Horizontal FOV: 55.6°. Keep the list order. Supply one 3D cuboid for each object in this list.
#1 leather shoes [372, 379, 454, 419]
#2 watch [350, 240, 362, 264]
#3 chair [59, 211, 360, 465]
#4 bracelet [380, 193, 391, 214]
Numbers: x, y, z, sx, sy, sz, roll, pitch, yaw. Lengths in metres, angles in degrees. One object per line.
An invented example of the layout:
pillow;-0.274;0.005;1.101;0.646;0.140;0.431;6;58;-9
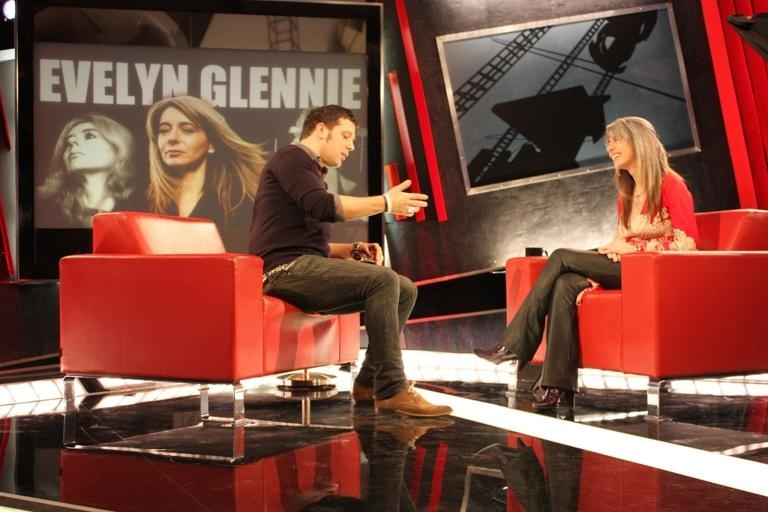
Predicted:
leather shoes;0.132;0.740;3.721;0.467;0.177;0.157;-1;-9;10
watch;-0.160;-0.023;4.178;0.070;0.094;0.092;0;-3;-2
chair;-0.885;0.383;4.196;1.263;1.162;1.448;-1;-2;29
bracelet;0.016;-0.279;3.801;0.036;0.081;0.077;4;-15;-13
